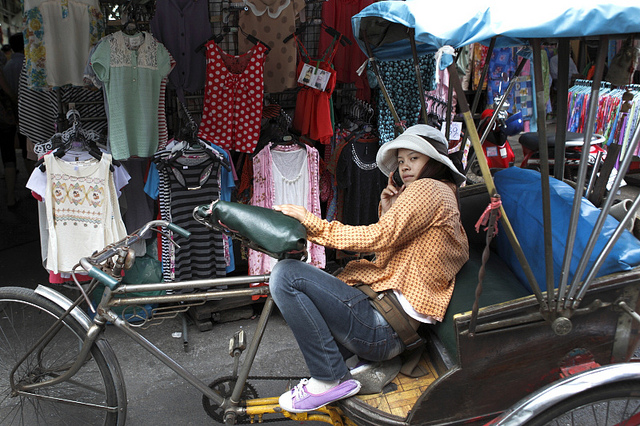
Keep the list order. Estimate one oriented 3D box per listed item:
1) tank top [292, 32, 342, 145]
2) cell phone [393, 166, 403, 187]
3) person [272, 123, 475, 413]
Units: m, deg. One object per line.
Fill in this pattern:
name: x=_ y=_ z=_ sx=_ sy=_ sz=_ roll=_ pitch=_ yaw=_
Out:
tank top: x=-0.050 y=-1.106 z=4.484 sx=0.437 sy=0.986 sz=0.162 roll=12 pitch=35 yaw=11
cell phone: x=0.632 y=-0.287 z=4.030 sx=0.103 sy=0.152 sz=0.088 roll=2 pitch=-2 yaw=36
person: x=0.331 y=0.315 z=3.292 sx=1.202 sy=1.889 sz=0.969 roll=6 pitch=-9 yaw=9
